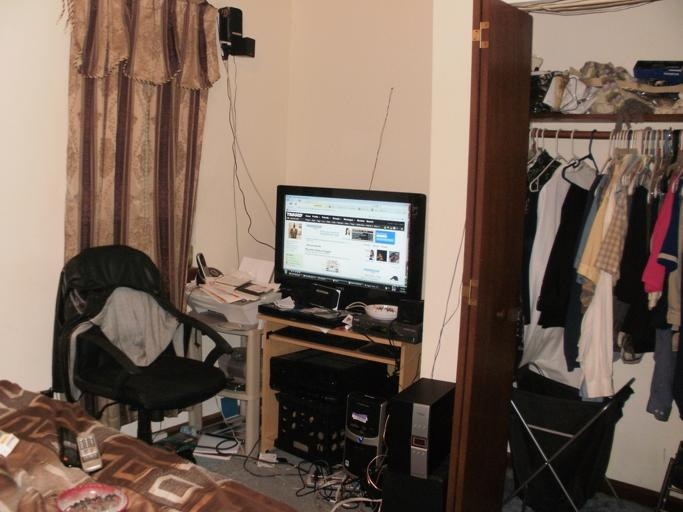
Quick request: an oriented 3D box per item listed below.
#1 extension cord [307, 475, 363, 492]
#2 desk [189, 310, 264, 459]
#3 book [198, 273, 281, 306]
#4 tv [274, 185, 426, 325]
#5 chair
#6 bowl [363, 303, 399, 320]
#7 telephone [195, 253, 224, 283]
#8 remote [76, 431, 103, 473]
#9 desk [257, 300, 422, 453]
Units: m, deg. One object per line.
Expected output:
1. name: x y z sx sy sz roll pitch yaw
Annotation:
1. extension cord: -0.054 1.282 3.538 0.320 0.076 0.159 3 11 -4
2. desk: -0.758 0.825 3.956 0.579 0.716 0.453 2 1 -2
3. book: -0.669 0.209 3.869 0.248 0.060 0.254 11 16 37
4. tv: 0.065 0.007 3.784 0.767 0.601 0.106 7 6 28
5. chair: -1.102 0.649 3.491 0.890 1.216 0.789 8 8 23
6. bowl: 0.227 0.318 3.633 0.184 0.068 0.223 4 11 3
7. telephone: -0.842 0.071 4.072 0.189 0.238 0.161 -2 12 -7
8. remote: -0.971 0.764 2.402 0.068 0.036 0.145 -6 46 -36
9. desk: 0.011 0.690 3.593 0.849 0.834 0.368 4 4 32
